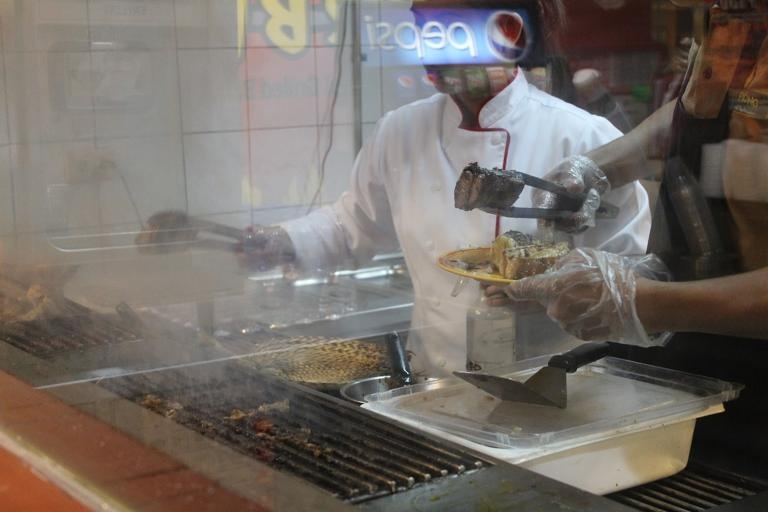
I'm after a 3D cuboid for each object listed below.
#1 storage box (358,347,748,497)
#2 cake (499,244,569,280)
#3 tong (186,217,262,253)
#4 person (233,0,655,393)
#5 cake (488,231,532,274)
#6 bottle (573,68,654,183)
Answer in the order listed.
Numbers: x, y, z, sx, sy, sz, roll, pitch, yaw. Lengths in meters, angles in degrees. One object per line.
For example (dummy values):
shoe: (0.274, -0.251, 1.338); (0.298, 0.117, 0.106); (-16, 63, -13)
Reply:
storage box: (0.348, 0.203, 1.222); (0.403, 0.115, 0.278); (-5, 6, -33)
cake: (0.262, 0.000, 1.243); (0.089, 0.030, 0.065); (-11, 5, 0)
tong: (-0.310, -0.041, 1.455); (0.197, 0.053, 0.041); (16, 38, 25)
person: (-0.003, -0.139, 1.688); (0.652, 1.142, 0.843); (-4, 16, -26)
cake: (0.219, -0.014, 1.300); (0.018, 0.073, 0.074); (10, -29, -29)
bottle: (0.368, -0.207, 1.194); (0.118, 0.190, 0.191); (4, 14, 31)
